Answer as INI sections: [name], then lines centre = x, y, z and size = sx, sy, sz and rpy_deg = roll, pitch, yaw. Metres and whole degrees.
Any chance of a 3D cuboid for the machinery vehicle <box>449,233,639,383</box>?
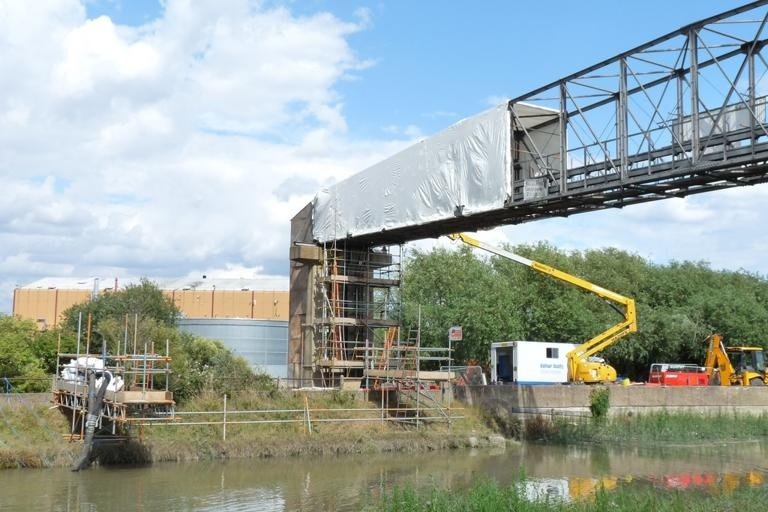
[machinery vehicle]
centre = 10.870, 3.732, 57.185
size = 7.998, 7.456, 2.225
rpy_deg = 2, -8, -17
